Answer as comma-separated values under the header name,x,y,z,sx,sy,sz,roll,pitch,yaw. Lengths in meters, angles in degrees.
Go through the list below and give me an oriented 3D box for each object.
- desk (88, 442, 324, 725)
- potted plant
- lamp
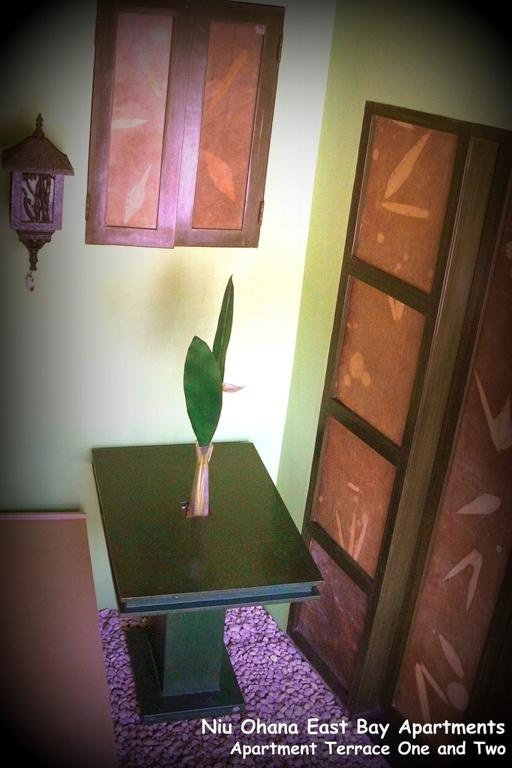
name,x,y,z,sx,sy,sz,roll,pitch,yaw
desk,-0.237,0.634,1.803,0.567,0.855,0.936,-1,38,-18
potted plant,-0.131,0.022,1.636,0.151,0.904,0.221,3,29,-3
lamp,-0.578,-0.462,1.444,0.164,0.454,0.191,-2,13,-28
